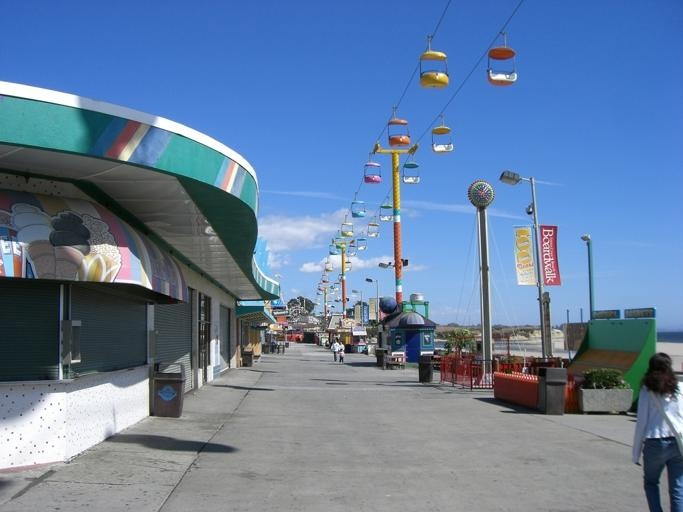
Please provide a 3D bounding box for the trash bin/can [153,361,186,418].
[{"bbox_3d":[-4.412,3.397,15.170,0.839,1.277,0.527,0,-4,-1],"label":"trash bin/can"}]

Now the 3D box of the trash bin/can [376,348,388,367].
[{"bbox_3d":[2.683,6.809,40.467,0.875,1.349,1.041,1,-5,-1],"label":"trash bin/can"}]

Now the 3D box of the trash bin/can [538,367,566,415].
[{"bbox_3d":[5.976,3.852,16.729,0.705,1.306,0.753,-7,-25,33],"label":"trash bin/can"}]

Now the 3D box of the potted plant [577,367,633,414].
[{"bbox_3d":[7.471,4.121,16.996,1.389,1.515,1.636,1,-37,19],"label":"potted plant"}]
